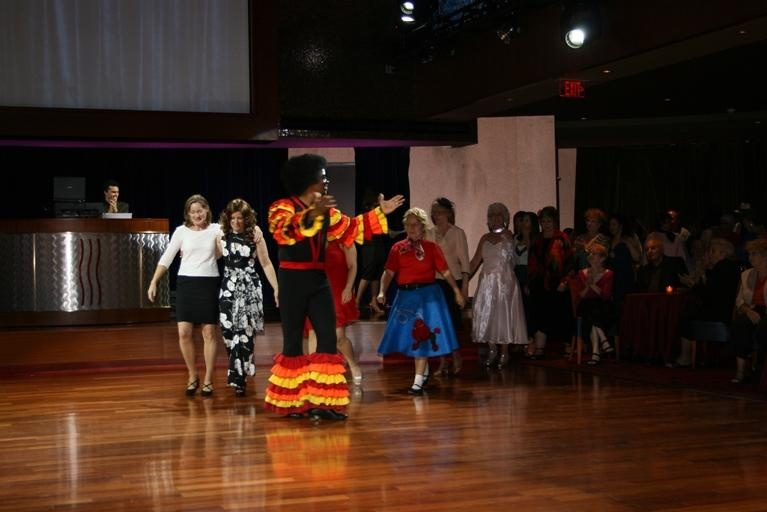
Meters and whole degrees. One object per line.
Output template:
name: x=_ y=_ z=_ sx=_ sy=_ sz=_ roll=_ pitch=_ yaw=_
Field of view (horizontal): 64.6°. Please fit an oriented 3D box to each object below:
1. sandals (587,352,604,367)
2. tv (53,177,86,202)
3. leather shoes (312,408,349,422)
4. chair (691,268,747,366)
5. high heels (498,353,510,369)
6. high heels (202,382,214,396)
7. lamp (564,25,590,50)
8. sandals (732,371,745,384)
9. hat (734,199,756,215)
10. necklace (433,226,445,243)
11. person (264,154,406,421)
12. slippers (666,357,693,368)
sandals: x=2.788 y=1.357 z=7.985 sx=0.114 sy=0.139 sz=0.350 roll=-4 pitch=-11 yaw=21
tv: x=-4.606 y=-0.975 z=8.926 sx=0.392 sy=0.384 sz=0.096 roll=-2 pitch=4 yaw=-11
leather shoes: x=-0.473 y=1.371 z=5.328 sx=0.336 sy=0.152 sz=0.115 roll=-7 pitch=-3 yaw=7
chair: x=4.027 y=0.721 z=7.356 sx=0.651 sy=1.059 sz=0.707 roll=4 pitch=-4 yaw=-19
high heels: x=1.577 y=1.368 z=7.911 sx=0.110 sy=0.135 sz=0.339 roll=-3 pitch=-12 yaw=13
high heels: x=-1.851 y=1.390 z=6.364 sx=0.126 sy=0.077 sz=0.284 roll=0 pitch=-2 yaw=-8
lamp: x=2.106 y=-2.368 z=6.595 sx=0.215 sy=0.170 sz=0.230 roll=-2 pitch=3 yaw=-21
sandals: x=3.839 y=1.303 z=6.572 sx=0.173 sy=0.106 sz=0.119 roll=-4 pitch=4 yaw=-41
hat: x=7.008 y=-0.957 z=11.701 sx=0.434 sy=0.257 sz=0.678 roll=-3 pitch=4 yaw=24
necklace: x=0.714 y=-0.281 z=7.834 sx=0.118 sy=0.199 sz=0.209 roll=0 pitch=-17 yaw=-10
person: x=-0.403 y=0.259 z=5.160 sx=1.193 sy=2.264 sz=0.998 roll=-1 pitch=2 yaw=-7
slippers: x=3.644 y=1.298 z=7.489 sx=0.354 sy=0.145 sz=0.123 roll=3 pitch=-4 yaw=-2
